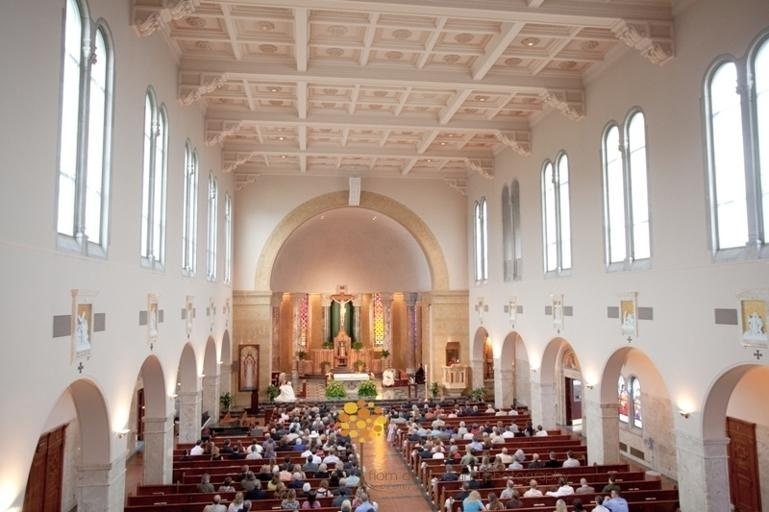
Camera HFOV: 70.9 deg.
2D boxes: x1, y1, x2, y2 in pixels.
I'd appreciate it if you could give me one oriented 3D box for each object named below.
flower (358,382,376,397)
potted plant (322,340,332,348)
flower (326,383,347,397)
[{"bbox_3d":[-0.931,7.361,29.405,0.841,0.623,0.807,1,1,-11],"label":"flower"},{"bbox_3d":[-4.360,6.953,42.516,0.703,0.598,0.989,2,-10,-5],"label":"potted plant"},{"bbox_3d":[-2.758,7.543,30.492,0.878,0.731,0.870,3,-4,-18],"label":"flower"}]
